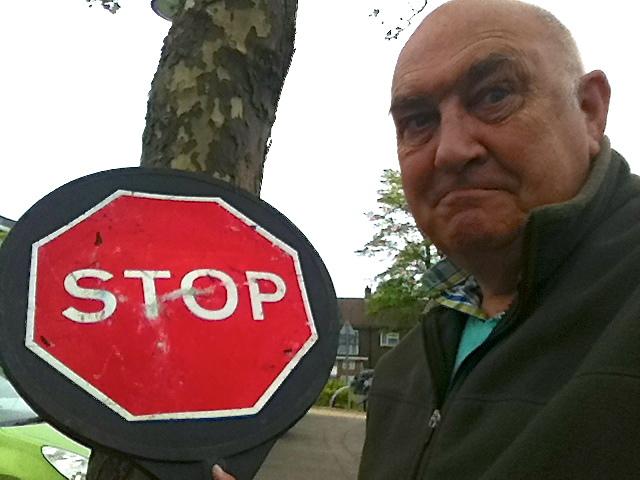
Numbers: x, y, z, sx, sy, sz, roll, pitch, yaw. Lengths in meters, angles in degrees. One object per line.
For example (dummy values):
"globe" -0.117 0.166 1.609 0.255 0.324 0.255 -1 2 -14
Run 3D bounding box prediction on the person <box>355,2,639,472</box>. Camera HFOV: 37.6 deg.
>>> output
"person" 0.703 -0.002 3.541 0.647 1.858 1.275 4 -6 -29

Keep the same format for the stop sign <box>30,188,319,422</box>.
"stop sign" -0.574 0.279 3.446 0.911 0.743 0.106 0 -28 -20
